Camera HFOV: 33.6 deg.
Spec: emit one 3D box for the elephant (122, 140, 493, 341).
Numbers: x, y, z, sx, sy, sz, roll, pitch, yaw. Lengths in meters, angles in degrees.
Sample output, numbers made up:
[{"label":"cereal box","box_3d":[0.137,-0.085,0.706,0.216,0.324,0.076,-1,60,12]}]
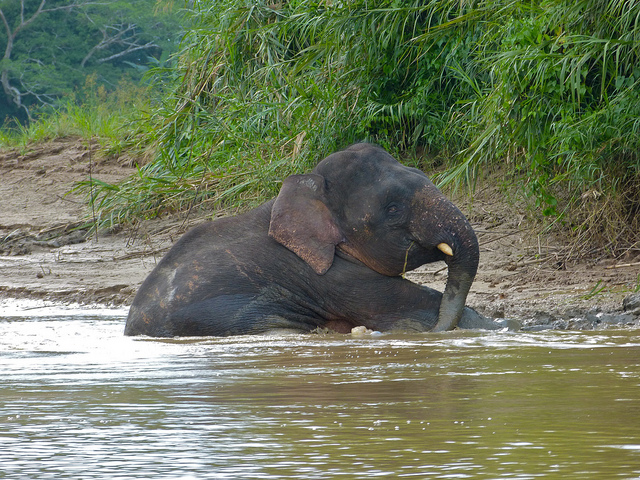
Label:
[{"label":"elephant","box_3d":[-0.047,0.067,5.736,1.757,0.748,0.907,-7,45,0]}]
